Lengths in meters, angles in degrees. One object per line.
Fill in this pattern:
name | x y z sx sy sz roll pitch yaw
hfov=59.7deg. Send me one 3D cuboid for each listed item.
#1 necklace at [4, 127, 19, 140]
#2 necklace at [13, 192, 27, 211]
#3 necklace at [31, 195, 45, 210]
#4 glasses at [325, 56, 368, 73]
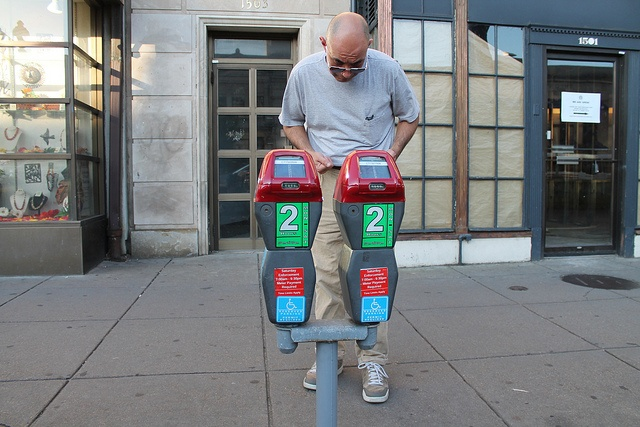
necklace | -3.801 -0.986 6.836 0.152 0.141 0.078 -2 8 -31
necklace | -3.696 -0.167 6.869 0.160 0.246 0.076 2 15 6
necklace | -3.495 -0.149 6.875 0.176 0.207 0.120 1 6 -6
glasses | 0.205 -1.113 4.215 0.282 0.102 0.135 0 15 -2
